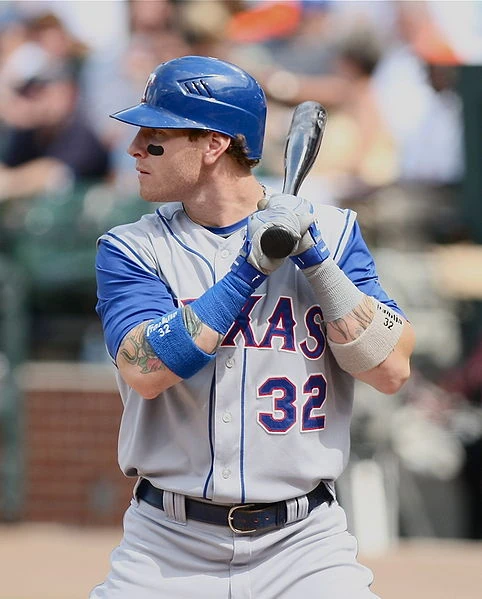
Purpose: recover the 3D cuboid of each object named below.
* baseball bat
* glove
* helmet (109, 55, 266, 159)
[{"bbox_3d":[0.142,-0.361,2.840,0.168,0.148,0.564,13,63,0],"label":"baseball bat"},{"bbox_3d":[0.122,-0.146,2.743,0.237,0.119,0.284,12,51,34],"label":"glove"},{"bbox_3d":[-0.159,-0.610,2.936,0.491,0.220,0.301,4,24,-7],"label":"helmet"}]
